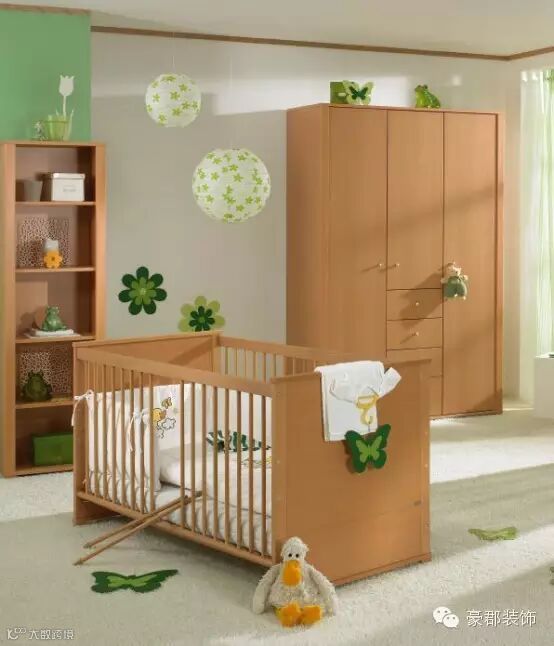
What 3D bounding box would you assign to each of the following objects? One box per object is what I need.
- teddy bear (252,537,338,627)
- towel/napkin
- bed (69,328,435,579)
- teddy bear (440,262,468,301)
[{"bbox_3d":[0.046,0.713,1.766,0.256,0.222,0.154,0,-2,-8],"label":"teddy bear"},{"bbox_3d":[0.210,0.239,1.914,0.272,0.209,0.092,-4,3,-43],"label":"towel/napkin"},{"bbox_3d":[-0.162,0.460,2.455,0.793,0.692,1.242,-5,7,-42],"label":"bed"},{"bbox_3d":[1.212,-0.278,4.415,0.200,0.236,0.077,-2,-5,2],"label":"teddy bear"}]
